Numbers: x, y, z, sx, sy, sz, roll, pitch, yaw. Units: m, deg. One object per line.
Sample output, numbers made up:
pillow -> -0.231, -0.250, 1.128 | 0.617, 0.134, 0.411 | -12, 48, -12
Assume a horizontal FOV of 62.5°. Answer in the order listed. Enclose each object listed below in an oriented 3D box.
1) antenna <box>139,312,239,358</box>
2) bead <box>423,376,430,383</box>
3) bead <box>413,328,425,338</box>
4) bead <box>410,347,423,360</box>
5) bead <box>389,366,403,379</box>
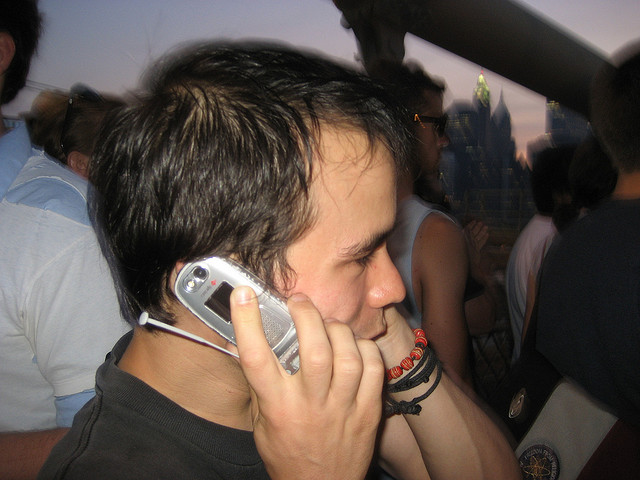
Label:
antenna -> -0.493, 0.347, 2.024 | 0.372, 0.170, 0.120 | 0, 16, 0
bead -> 0.483, 0.634, 2.403 | 0.029, 0.030, 0.011 | -14, 13, 15
bead -> 0.477, 0.439, 2.537 | 0.044, 0.022, 0.054 | 1, 3, 9
bead -> 0.448, 0.518, 2.433 | 0.042, 0.046, 0.056 | 22, -11, -22
bead -> 0.342, 0.598, 2.402 | 0.043, 0.063, 0.020 | 2, 17, 11
